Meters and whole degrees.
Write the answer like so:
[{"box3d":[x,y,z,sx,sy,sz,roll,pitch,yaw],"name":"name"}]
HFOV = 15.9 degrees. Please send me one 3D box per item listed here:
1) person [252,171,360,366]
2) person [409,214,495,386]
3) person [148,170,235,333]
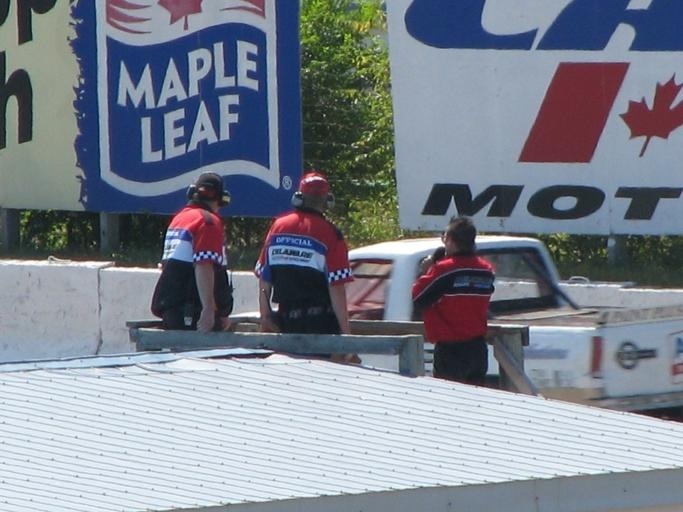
[{"box3d":[-0.530,0.099,35.646,1.399,2.239,1.063,3,19,2],"name":"person"},{"box3d":[1.693,0.723,35.798,1.090,2.239,0.832,9,20,18],"name":"person"},{"box3d":[-2.144,0.031,35.980,1.127,2.156,1.128,1,19,-4],"name":"person"}]
